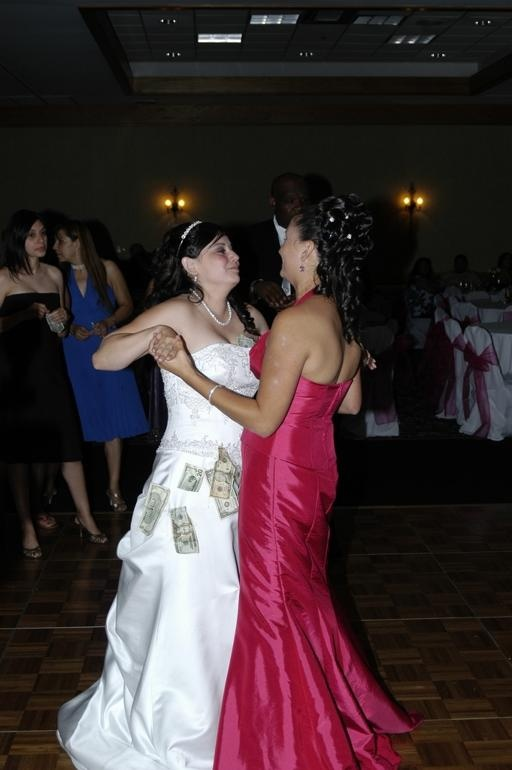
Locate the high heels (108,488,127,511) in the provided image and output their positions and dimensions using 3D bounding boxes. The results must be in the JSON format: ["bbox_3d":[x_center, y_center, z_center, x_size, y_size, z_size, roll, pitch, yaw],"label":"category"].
[{"bbox_3d":[-0.861,0.737,3.429,0.067,0.182,0.062,-35,-17,37],"label":"high heels"}]

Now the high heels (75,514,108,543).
[{"bbox_3d":[-0.944,0.813,3.106,0.095,0.075,0.285,9,4,-44],"label":"high heels"}]

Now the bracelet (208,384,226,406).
[{"bbox_3d":[-0.087,0.021,1.169,0.010,0.037,0.039,20,16,12],"label":"bracelet"}]

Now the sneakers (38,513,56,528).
[{"bbox_3d":[-1.232,0.799,3.231,0.055,0.035,0.139,1,4,-22],"label":"sneakers"}]
